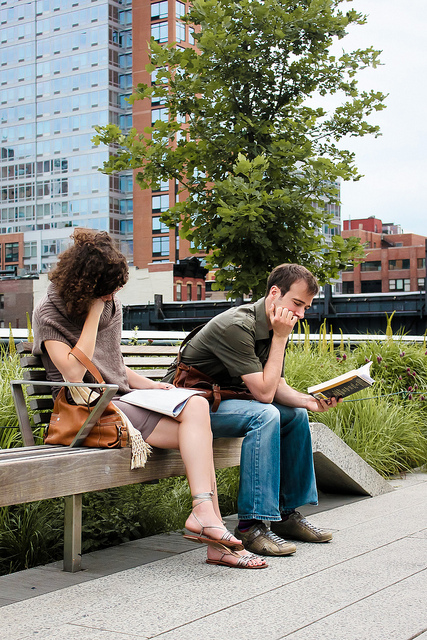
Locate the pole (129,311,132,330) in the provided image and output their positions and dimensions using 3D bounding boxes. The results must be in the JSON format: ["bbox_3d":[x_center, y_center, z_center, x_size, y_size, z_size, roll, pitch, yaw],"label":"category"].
[{"bbox_3d":[-6.646,-0.024,46.446,0.219,1.375,0.495,1,3,-12],"label":"pole"}]

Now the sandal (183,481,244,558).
[{"bbox_3d":[0.019,0.863,2.410,0.218,0.297,0.187,3,3,35],"label":"sandal"}]

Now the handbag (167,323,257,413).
[{"bbox_3d":[-0.028,0.208,2.989,0.406,0.442,0.450,4,2,41],"label":"handbag"}]

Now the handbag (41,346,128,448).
[{"bbox_3d":[-0.557,0.331,2.467,0.195,0.434,0.488,-1,3,-41],"label":"handbag"}]

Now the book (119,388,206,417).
[{"bbox_3d":[-0.216,0.359,2.664,0.276,0.103,0.340,9,0,37],"label":"book"}]
